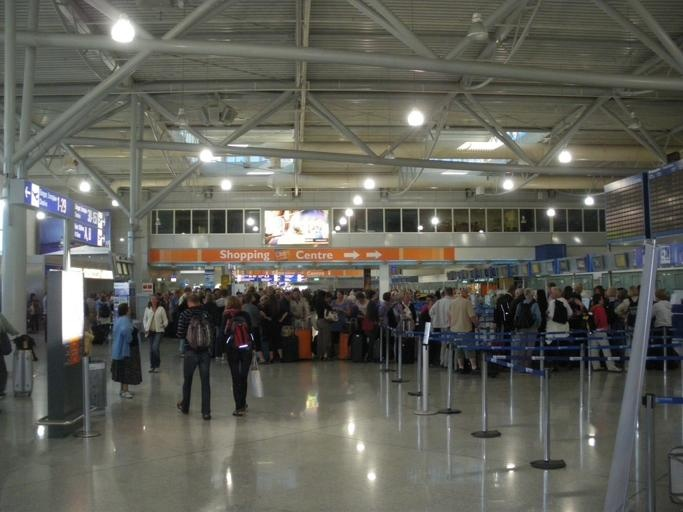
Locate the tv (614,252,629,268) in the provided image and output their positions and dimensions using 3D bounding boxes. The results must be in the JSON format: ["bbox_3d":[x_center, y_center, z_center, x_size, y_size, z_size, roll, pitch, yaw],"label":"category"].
[{"bbox_3d":[8.271,0.061,20.481,0.343,0.425,0.452,3,-3,9],"label":"tv"}]

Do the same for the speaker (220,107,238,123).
[{"bbox_3d":[-3.733,-4.722,22.710,0.417,0.534,0.530,11,-41,0],"label":"speaker"}]

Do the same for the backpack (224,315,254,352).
[{"bbox_3d":[-1.809,1.370,12.661,0.482,0.589,0.335,-11,-4,-3],"label":"backpack"}]

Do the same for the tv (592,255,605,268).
[{"bbox_3d":[8.175,0.155,22.050,0.302,0.376,0.393,3,-5,6],"label":"tv"}]

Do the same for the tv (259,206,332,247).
[{"bbox_3d":[-2.486,-1.695,38.663,3.572,1.972,0.387,-2,-3,-3],"label":"tv"}]

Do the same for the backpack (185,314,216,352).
[{"bbox_3d":[-2.561,1.357,12.446,0.465,0.654,0.251,-1,-3,-14],"label":"backpack"}]

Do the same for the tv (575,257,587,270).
[{"bbox_3d":[8.058,0.213,23.182,0.360,0.335,0.478,2,-5,0],"label":"tv"}]

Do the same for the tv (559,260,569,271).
[{"bbox_3d":[7.867,0.255,24.492,0.195,0.334,0.363,3,-7,-6],"label":"tv"}]

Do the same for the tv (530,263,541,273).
[{"bbox_3d":[7.701,0.422,27.355,0.302,0.493,0.547,0,1,-14],"label":"tv"}]

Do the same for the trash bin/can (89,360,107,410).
[{"bbox_3d":[-4.468,2.354,12.727,0.256,0.867,0.347,0,-4,-25],"label":"trash bin/can"}]
